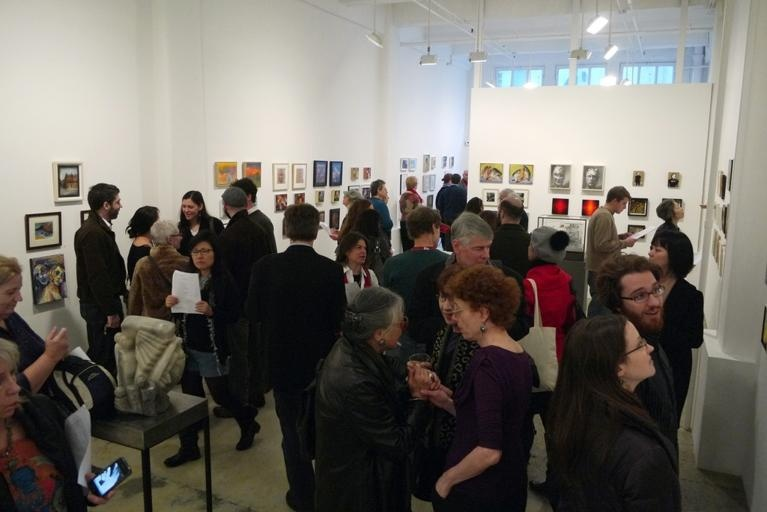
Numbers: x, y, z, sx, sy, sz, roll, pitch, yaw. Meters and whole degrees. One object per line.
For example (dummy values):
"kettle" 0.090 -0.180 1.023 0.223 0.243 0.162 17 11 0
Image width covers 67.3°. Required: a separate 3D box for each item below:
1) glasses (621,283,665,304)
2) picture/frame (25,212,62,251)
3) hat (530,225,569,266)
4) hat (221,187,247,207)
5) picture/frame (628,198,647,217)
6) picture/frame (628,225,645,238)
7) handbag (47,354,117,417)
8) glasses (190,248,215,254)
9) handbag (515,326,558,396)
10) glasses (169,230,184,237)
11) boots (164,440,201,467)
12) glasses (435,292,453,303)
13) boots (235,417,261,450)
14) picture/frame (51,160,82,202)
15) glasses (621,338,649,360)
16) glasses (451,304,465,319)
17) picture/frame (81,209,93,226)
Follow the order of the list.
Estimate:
"glasses" 1.897 0.270 4.203 0.310 0.127 0.071 -2 9 -12
"picture/frame" -4.010 -0.295 6.789 0.031 0.431 0.419 3 6 34
"hat" 1.405 -0.086 4.876 0.274 0.310 0.316 4 10 24
"hat" -1.720 -0.700 6.691 0.203 0.211 0.253 -5 27 -23
"picture/frame" 4.965 -0.959 11.276 0.313 0.377 0.037 4 6 25
"picture/frame" 4.458 -0.428 10.180 0.289 0.329 0.022 -1 4 -4
"handbag" -2.205 0.957 4.195 0.226 0.421 0.311 -23 20 27
"glasses" -1.745 -0.049 5.583 0.225 0.091 0.048 0 9 2
"handbag" 1.064 0.743 4.005 0.339 0.545 0.142 -9 -25 22
"glasses" -2.229 -0.238 6.204 0.095 0.055 0.091 -12 11 -5
"boots" -2.024 2.012 5.940 0.411 0.294 0.154 1 5 -26
"glasses" 0.432 0.293 4.169 0.074 0.040 0.097 6 10 -5
"boots" -1.424 1.907 6.139 0.184 0.419 0.150 16 10 -47
"picture/frame" -3.859 -0.918 7.015 0.040 0.573 0.482 4 6 26
"glasses" 1.508 0.553 3.459 0.115 0.035 0.116 -18 1 23
"glasses" 0.485 0.362 3.772 0.078 0.097 0.124 0 53 1
"picture/frame" -3.546 -0.456 6.910 0.016 0.247 0.208 1 4 28
